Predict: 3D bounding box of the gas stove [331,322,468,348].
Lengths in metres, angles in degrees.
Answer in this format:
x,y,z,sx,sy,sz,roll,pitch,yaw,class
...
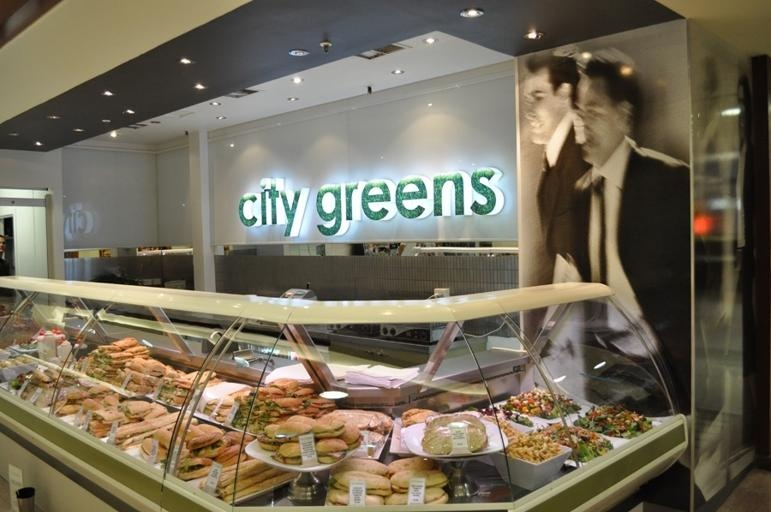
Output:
x,y,z,sx,sy,sz,roll,pitch,yaw,class
0.052,0.354,2.354,0.272,0.061,0.245,3,4,35,gas stove

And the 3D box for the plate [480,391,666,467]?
x,y,z,sx,sy,sz,roll,pitch,yaw,class
0.863,0.816,2.435,0.577,0.081,0.395,-2,10,-38,plate

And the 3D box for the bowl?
x,y,z,sx,sy,sz,roll,pitch,yaw,class
0.616,0.933,2.224,0.189,0.083,0.242,-2,3,-36,bowl

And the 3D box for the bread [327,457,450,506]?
x,y,z,sx,sy,sz,roll,pitch,yaw,class
0.016,0.974,2.217,0.336,0.094,0.243,0,1,4,bread

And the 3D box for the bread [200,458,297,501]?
x,y,z,sx,sy,sz,roll,pitch,yaw,class
-0.600,0.977,2.252,0.315,0.093,0.166,-12,50,-13,bread

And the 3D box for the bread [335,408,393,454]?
x,y,z,sx,sy,sz,roll,pitch,yaw,class
-0.086,0.828,2.419,0.216,0.047,0.205,9,35,16,bread

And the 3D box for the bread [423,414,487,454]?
x,y,z,sx,sy,sz,roll,pitch,yaw,class
0.310,0.786,2.290,0.207,0.071,0.203,-2,17,1,bread
